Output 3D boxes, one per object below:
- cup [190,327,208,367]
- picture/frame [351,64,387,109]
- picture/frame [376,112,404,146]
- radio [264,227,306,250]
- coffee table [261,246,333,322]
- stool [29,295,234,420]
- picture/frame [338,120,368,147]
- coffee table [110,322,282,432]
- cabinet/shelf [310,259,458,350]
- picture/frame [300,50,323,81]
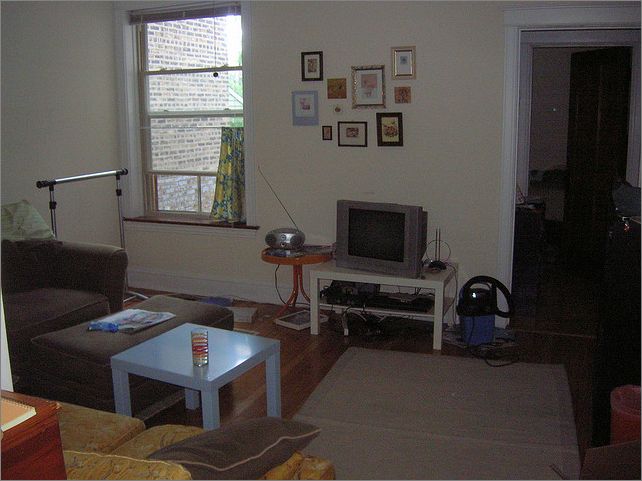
[{"bbox_3d":[-0.627,0.545,2.774,0.082,0.165,0.171,-5,15,-15],"label":"cup"},{"bbox_3d":[0.406,-1.302,4.493,0.371,0.395,0.024,3,9,21],"label":"picture/frame"},{"bbox_3d":[0.575,-0.939,4.481,0.285,0.325,0.023,4,15,19],"label":"picture/frame"},{"bbox_3d":[-0.311,0.001,4.547,0.318,0.190,0.205,-2,15,-7],"label":"radio"},{"bbox_3d":[-0.216,0.350,4.590,0.433,0.442,0.407,-4,0,8],"label":"coffee table"},{"bbox_3d":[-1.287,0.718,3.502,0.719,0.456,0.978,12,15,24],"label":"stool"},{"bbox_3d":[0.279,-0.923,4.595,0.238,0.195,0.019,4,15,18],"label":"picture/frame"},{"bbox_3d":[-0.656,0.640,2.873,0.656,0.479,0.672,4,9,25],"label":"coffee table"},{"bbox_3d":[0.574,0.415,4.529,1.178,0.570,0.783,3,18,23],"label":"cabinet/shelf"},{"bbox_3d":[-0.078,-1.512,4.636,0.216,0.234,0.016,11,25,30],"label":"picture/frame"}]
